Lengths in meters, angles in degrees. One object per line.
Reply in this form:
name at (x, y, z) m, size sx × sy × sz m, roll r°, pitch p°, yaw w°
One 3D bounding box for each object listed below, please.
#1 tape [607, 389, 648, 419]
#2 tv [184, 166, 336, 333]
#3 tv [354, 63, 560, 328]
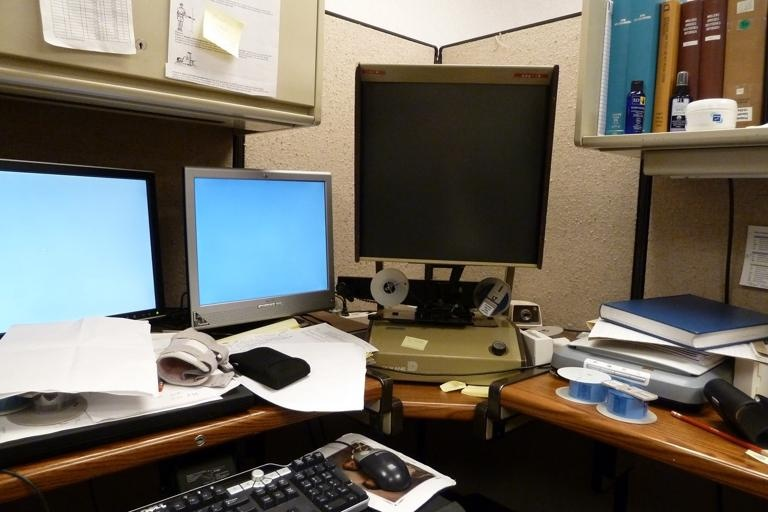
tape at (0.494, 0.301, 1.118) m, size 0.065 × 0.036 × 0.063 m, roll 10°, pitch 8°, yaw -40°
tv at (-0.335, -0.016, 1.420) m, size 0.475 × 0.420 × 0.038 m, roll -3°, pitch 3°, yaw -30°
tv at (0.210, -0.167, 1.594) m, size 0.548 × 0.708 × 0.457 m, roll 5°, pitch 15°, yaw 17°
